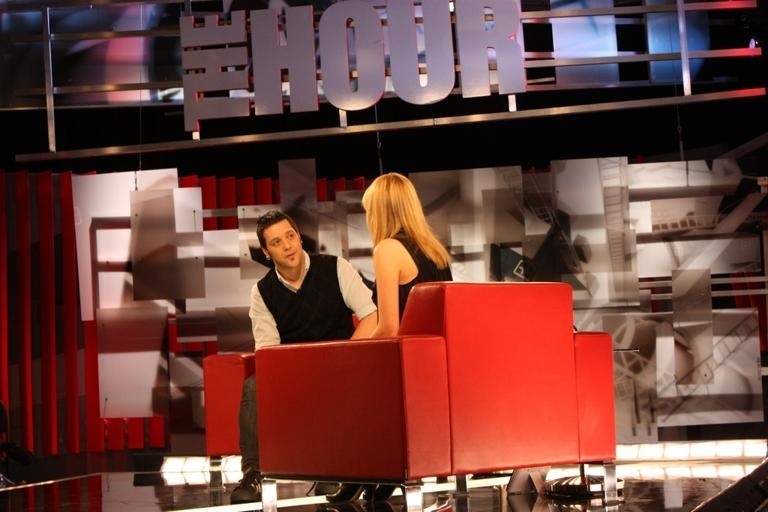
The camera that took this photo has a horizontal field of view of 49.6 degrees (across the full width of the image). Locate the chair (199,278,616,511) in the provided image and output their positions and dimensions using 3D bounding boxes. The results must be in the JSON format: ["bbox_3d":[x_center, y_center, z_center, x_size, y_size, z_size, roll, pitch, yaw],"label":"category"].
[{"bbox_3d":[0.261,0.768,4.930,1.844,1.337,1.273,1,-3,-39],"label":"chair"}]

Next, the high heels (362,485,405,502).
[{"bbox_3d":[-0.017,1.508,5.226,0.133,0.152,0.173,7,-18,-32],"label":"high heels"}]

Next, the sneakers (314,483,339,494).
[{"bbox_3d":[-0.380,1.520,5.397,0.182,0.061,0.107,0,-3,13],"label":"sneakers"}]
